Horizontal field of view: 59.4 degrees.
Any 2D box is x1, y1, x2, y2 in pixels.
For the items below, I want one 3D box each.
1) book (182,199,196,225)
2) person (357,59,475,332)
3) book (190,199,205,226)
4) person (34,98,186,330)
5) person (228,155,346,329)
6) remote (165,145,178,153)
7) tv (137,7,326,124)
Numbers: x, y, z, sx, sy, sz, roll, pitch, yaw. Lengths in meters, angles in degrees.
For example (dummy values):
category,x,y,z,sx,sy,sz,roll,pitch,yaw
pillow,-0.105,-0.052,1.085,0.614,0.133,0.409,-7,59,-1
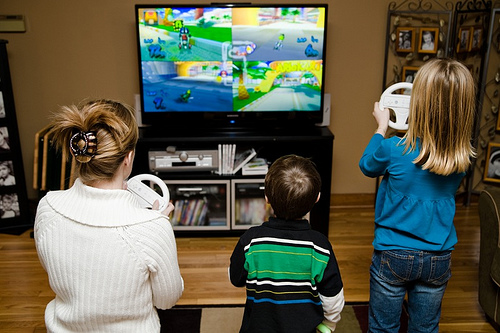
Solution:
category,x,y,z,sx,sy,sz,roll,pitch,yaw
book,-0.557,0.391,3.920,0.030,0.275,0.213,26,7,-1
person,0.837,0.183,2.286,0.552,1.436,0.262,4,14,24
book,-0.481,0.409,3.924,0.128,0.226,0.017,-3,13,-9
person,-0.651,0.227,1.965,0.641,1.035,0.309,-3,13,-9
person,0.174,0.397,2.179,0.529,0.873,0.278,-5,13,-15
remote,-0.698,-0.158,3.820,0.065,0.057,0.015,2,-33,-1
tv,-0.175,-0.929,3.844,1.218,0.711,0.021,0,14,1
